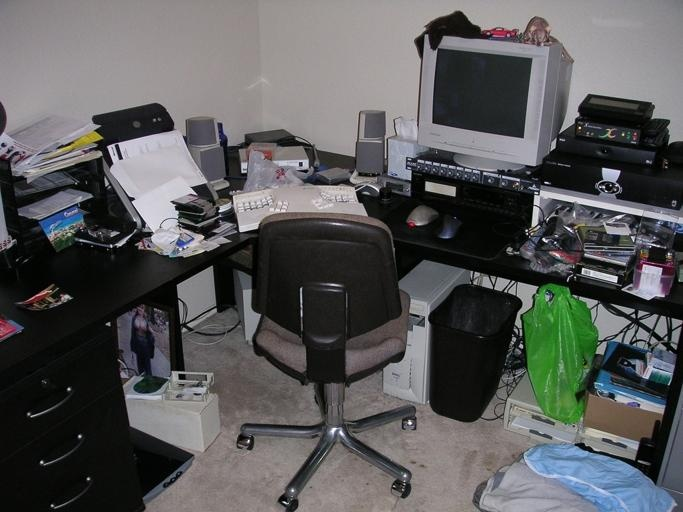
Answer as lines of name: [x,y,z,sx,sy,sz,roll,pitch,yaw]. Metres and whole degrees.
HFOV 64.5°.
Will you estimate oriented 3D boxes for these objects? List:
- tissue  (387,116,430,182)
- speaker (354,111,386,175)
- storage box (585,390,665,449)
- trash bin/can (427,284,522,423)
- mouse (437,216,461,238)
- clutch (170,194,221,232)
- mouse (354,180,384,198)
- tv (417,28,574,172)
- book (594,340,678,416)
tissue : [0.309,-0.522,2.623,0.172,0.316,0.175,13,34,19]
speaker: [0.149,-0.541,2.726,0.134,0.309,0.120,15,33,10]
storage box: [1.184,0.670,2.279,0.324,0.224,0.180,17,51,24]
trash bin/can: [0.599,0.456,2.511,0.300,0.498,0.424,16,30,30]
mouse: [0.448,-0.117,2.261,0.067,0.052,0.114,14,53,29]
clutch: [-0.604,-0.198,2.362,0.194,0.145,0.212,16,32,14]
mouse: [0.129,-0.322,2.609,0.118,0.070,0.044,8,41,30]
tv: [0.705,-0.689,2.574,0.721,0.603,0.539,18,41,28]
book: [1.253,0.497,2.308,0.278,0.085,0.273,15,44,34]
